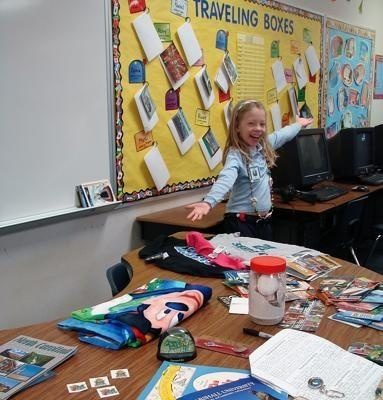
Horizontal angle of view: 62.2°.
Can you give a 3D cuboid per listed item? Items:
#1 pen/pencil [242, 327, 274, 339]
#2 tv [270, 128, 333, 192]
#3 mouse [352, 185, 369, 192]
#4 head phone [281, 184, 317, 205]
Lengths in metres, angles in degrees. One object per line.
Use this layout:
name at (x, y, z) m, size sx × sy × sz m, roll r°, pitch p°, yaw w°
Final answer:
pen/pencil at (0.185, 0.368, 0.876) m, size 0.119 × 0.016 × 0.016 m, roll 5°, pitch 55°, yaw 16°
tv at (1.022, -0.307, 3.259) m, size 0.715 × 0.715 × 0.562 m, roll -8°, pitch 1°, yaw -43°
mouse at (1.683, -0.112, 3.144) m, size 0.148 × 0.047 × 0.083 m, roll 0°, pitch 16°, yaw 4°
head phone at (0.918, -0.050, 2.713) m, size 0.224 × 0.094 × 0.180 m, roll 5°, pitch 10°, yaw 27°
